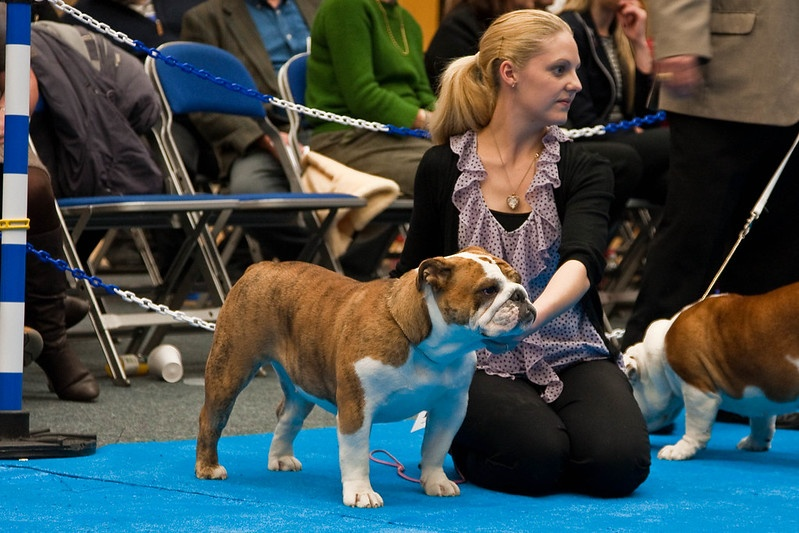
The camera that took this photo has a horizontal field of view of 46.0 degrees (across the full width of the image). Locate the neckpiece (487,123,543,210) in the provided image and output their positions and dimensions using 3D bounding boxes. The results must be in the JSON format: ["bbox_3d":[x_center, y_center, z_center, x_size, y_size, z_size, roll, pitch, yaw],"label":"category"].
[{"bbox_3d":[0.413,-0.361,3.481,0.232,0.301,0.099,4,-3,4],"label":"neckpiece"}]

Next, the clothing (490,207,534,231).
[{"bbox_3d":[0.394,-0.169,3.349,0.105,0.076,0.039,-7,-21,1],"label":"clothing"}]

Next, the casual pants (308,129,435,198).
[{"bbox_3d":[-0.140,-0.666,5.489,0.515,0.167,0.531,14,-5,30],"label":"casual pants"}]

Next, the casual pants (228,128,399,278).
[{"bbox_3d":[-0.747,-0.333,6.221,1.272,0.930,0.881,-3,-13,33],"label":"casual pants"}]

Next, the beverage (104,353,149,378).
[{"bbox_3d":[-1.361,0.475,4.764,0.127,0.129,0.163,2,0,40],"label":"beverage"}]

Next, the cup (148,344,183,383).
[{"bbox_3d":[-1.140,0.489,4.691,0.153,0.163,0.276,-4,20,-27],"label":"cup"}]

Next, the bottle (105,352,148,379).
[{"bbox_3d":[-1.352,0.501,4.757,0.127,0.129,0.165,1,-3,43],"label":"bottle"}]

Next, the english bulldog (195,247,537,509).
[{"bbox_3d":[-0.119,0.341,3.199,1.213,0.845,0.601,1,0,33],"label":"english bulldog"}]
